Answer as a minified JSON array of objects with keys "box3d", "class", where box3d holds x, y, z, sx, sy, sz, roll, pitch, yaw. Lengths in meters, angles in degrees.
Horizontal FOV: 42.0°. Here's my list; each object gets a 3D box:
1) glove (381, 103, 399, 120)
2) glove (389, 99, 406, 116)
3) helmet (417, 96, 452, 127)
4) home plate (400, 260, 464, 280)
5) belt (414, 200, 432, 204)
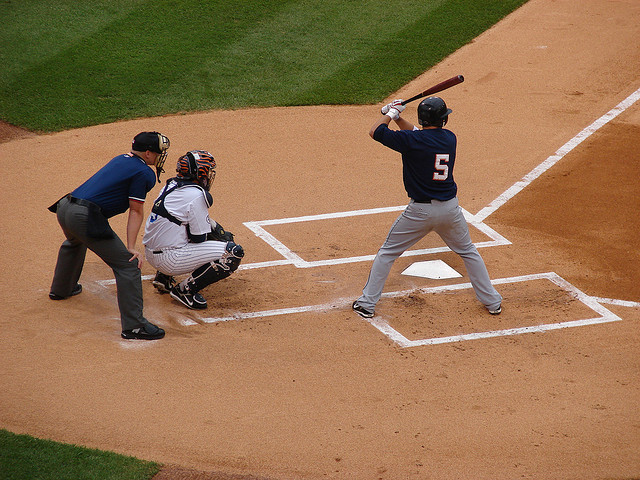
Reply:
[{"box3d":[0.800,-1.475,9.350,0.138,0.137,0.343,11,37,16],"class":"glove"},{"box3d":[0.861,-1.463,9.273,0.159,0.209,0.313,-4,27,9],"class":"glove"},{"box3d":[1.209,-1.358,9.028,0.414,0.274,0.300,-22,41,-26],"class":"helmet"},{"box3d":[1.329,0.390,10.143,0.677,0.098,0.387,-9,25,-8],"class":"home plate"},{"box3d":[1.118,-0.410,9.076,0.176,0.040,0.031,5,32,22],"class":"belt"}]
